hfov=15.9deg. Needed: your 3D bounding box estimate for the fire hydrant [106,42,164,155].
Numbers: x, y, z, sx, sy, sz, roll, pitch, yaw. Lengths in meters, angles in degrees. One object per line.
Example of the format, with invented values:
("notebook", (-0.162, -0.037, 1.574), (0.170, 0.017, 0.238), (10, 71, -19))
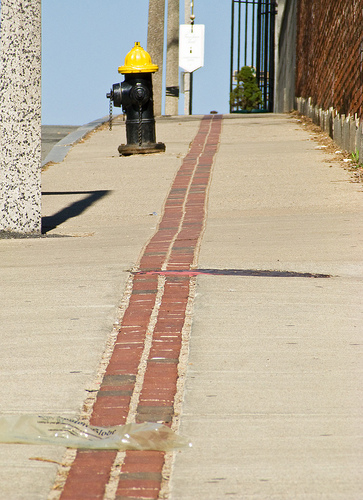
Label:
("fire hydrant", (-0.461, -1.605, 14.192), (0.497, 1.167, 0.496), (0, 3, 30))
